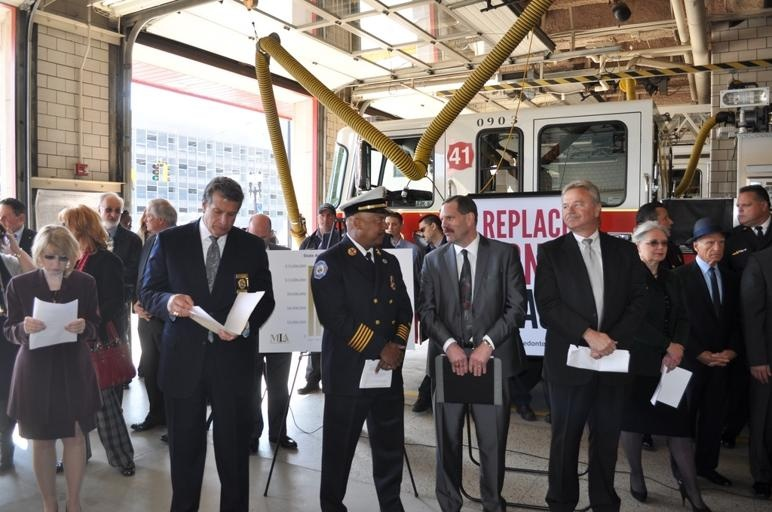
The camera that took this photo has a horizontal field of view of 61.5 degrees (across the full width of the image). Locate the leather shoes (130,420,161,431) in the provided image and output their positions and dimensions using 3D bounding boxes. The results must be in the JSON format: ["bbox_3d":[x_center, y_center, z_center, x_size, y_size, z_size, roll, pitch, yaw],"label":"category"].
[{"bbox_3d":[-2.737,1.935,7.385,0.242,0.064,0.124,12,-10,-24],"label":"leather shoes"}]

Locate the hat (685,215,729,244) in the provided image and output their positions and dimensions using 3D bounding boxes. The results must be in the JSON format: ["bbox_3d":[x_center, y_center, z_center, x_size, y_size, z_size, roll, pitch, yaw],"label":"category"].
[{"bbox_3d":[3.151,-0.183,6.413,0.331,0.143,0.376,-12,-18,1],"label":"hat"}]

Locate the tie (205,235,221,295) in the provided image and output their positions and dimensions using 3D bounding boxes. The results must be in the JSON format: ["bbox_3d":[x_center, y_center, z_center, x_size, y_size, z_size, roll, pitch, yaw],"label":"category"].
[{"bbox_3d":[-1.460,0.077,5.434,0.151,0.602,0.031,0,41,-21],"label":"tie"}]

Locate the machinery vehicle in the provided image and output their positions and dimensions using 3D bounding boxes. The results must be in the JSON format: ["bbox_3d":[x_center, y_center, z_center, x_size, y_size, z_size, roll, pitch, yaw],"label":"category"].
[{"bbox_3d":[0.843,-0.532,9.800,7.466,3.508,2.720,1,3,28],"label":"machinery vehicle"}]

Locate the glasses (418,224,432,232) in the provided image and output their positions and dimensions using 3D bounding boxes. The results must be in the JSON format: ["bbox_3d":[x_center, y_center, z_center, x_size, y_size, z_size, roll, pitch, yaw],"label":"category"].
[{"bbox_3d":[0.480,-0.355,8.205,0.104,0.076,0.090,12,-3,-9],"label":"glasses"}]

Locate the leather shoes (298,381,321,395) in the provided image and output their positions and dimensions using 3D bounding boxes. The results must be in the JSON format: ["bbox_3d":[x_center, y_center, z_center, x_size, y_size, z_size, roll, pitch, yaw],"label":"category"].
[{"bbox_3d":[-1.003,1.750,8.602,0.316,0.200,0.129,8,-7,-17],"label":"leather shoes"}]

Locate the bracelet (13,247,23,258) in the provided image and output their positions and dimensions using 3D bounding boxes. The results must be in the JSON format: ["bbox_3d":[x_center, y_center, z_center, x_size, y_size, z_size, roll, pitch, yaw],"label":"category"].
[{"bbox_3d":[-3.642,-0.033,6.405,0.075,0.070,0.078,5,-4,-25],"label":"bracelet"}]

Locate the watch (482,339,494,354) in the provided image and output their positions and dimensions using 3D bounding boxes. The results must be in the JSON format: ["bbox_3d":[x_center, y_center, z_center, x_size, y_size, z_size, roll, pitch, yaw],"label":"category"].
[{"bbox_3d":[0.885,0.774,5.597,0.055,0.096,0.113,-21,-15,20],"label":"watch"}]

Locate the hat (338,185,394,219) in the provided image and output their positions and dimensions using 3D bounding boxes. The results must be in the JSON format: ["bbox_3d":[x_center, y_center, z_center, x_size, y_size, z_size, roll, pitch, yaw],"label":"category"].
[{"bbox_3d":[-0.201,-0.452,5.579,0.339,0.164,0.296,-6,-3,22],"label":"hat"}]

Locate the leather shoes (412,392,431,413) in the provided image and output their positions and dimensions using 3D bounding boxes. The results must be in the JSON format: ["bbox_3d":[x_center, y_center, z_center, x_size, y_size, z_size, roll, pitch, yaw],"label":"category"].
[{"bbox_3d":[0.460,1.809,7.998,0.161,0.200,0.481,-7,-8,30],"label":"leather shoes"}]

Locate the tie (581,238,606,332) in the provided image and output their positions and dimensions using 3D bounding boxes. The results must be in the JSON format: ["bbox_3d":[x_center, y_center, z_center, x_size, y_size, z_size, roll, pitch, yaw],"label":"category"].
[{"bbox_3d":[1.794,0.356,5.651,0.246,1.000,0.099,-5,1,-32],"label":"tie"}]

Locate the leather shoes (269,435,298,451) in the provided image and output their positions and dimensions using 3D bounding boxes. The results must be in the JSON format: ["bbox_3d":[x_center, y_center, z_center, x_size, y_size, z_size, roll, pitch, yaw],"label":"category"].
[{"bbox_3d":[-1.149,2.031,7.109,0.410,0.161,0.152,0,-10,21],"label":"leather shoes"}]

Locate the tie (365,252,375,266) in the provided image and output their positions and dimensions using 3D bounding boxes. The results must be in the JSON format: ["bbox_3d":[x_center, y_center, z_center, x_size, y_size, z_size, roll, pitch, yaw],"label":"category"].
[{"bbox_3d":[-0.135,0.027,5.604,0.076,0.104,0.028,5,-17,-29],"label":"tie"}]

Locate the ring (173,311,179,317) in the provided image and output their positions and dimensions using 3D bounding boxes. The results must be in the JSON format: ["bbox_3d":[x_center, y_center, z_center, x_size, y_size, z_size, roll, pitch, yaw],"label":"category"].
[{"bbox_3d":[-1.698,0.470,5.244,0.048,0.048,0.012,-3,-3,33],"label":"ring"}]
